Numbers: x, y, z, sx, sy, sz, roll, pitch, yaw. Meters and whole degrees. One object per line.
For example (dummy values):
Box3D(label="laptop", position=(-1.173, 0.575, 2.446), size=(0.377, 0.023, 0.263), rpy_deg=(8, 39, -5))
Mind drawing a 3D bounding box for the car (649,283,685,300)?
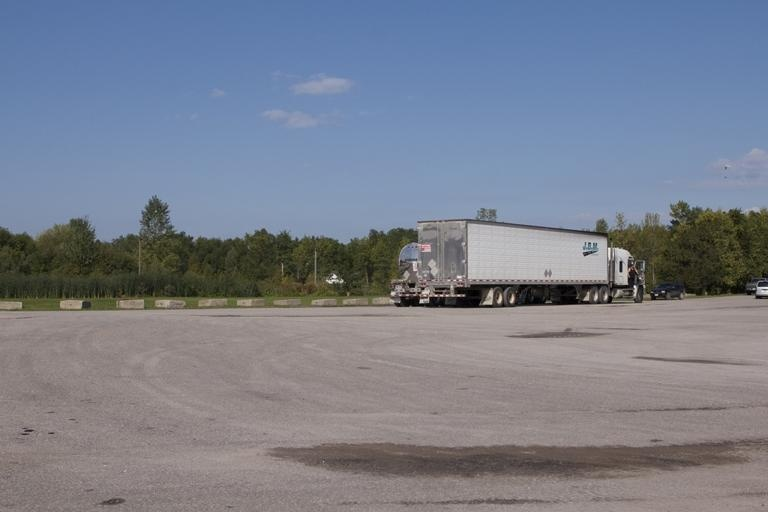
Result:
Box3D(label="car", position=(19.144, 2.445, 72.442), size=(2.449, 0.918, 1.093), rpy_deg=(6, -9, -42))

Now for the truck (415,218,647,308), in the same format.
Box3D(label="truck", position=(7.636, 0.259, 54.559), size=(4.036, 4.563, 17.037), rpy_deg=(1, 1, 44))

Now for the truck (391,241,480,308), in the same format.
Box3D(label="truck", position=(2.357, 0.961, 49.493), size=(3.826, 2.182, 2.420), rpy_deg=(6, -6, -26))
